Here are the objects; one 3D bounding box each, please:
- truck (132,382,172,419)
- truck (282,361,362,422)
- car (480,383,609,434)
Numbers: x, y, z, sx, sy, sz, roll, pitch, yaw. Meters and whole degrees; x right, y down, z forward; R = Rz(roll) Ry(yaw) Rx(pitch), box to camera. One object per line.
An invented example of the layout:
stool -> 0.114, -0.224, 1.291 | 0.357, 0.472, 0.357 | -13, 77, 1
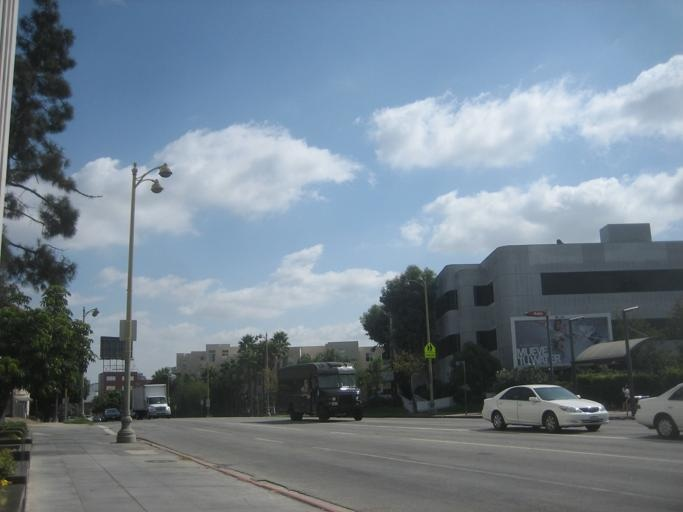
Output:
truck -> -19.115, 14.707, 66.525 | 2.114, 3.262, 5.525 | -3, -1, -26
truck -> -1.184, 8.487, 40.931 | 2.810, 3.007, 5.476 | 4, -18, -25
car -> 8.024, 6.078, 25.884 | 1.508, 1.871, 4.634 | 7, -18, -34
